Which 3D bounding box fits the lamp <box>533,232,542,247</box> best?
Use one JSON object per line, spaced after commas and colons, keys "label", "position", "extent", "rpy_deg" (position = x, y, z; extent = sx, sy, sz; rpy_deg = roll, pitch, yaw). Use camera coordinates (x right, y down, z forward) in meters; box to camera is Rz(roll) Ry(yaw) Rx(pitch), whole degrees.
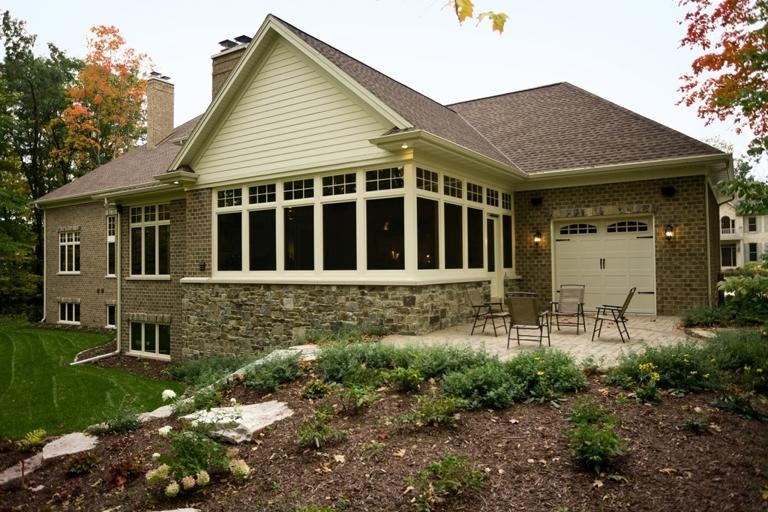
{"label": "lamp", "position": [4.798, -0.485, 17.534], "extent": [0.297, 0.463, 0.145], "rpy_deg": [-2, -4, 23]}

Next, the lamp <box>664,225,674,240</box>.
{"label": "lamp", "position": [8.112, -0.679, 15.965], "extent": [0.240, 0.422, 0.216], "rpy_deg": [-3, -4, 25]}

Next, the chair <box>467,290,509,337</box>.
{"label": "chair", "position": [2.702, 1.469, 14.420], "extent": [1.038, 0.995, 0.867], "rpy_deg": [4, 3, 32]}
